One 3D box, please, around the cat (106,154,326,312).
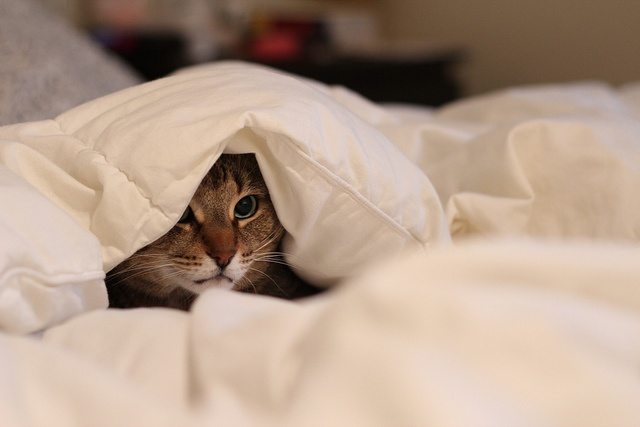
[{"bbox_3d":[-0.240,0.010,1.824,0.373,0.623,0.495,-4,91,0],"label":"cat"}]
